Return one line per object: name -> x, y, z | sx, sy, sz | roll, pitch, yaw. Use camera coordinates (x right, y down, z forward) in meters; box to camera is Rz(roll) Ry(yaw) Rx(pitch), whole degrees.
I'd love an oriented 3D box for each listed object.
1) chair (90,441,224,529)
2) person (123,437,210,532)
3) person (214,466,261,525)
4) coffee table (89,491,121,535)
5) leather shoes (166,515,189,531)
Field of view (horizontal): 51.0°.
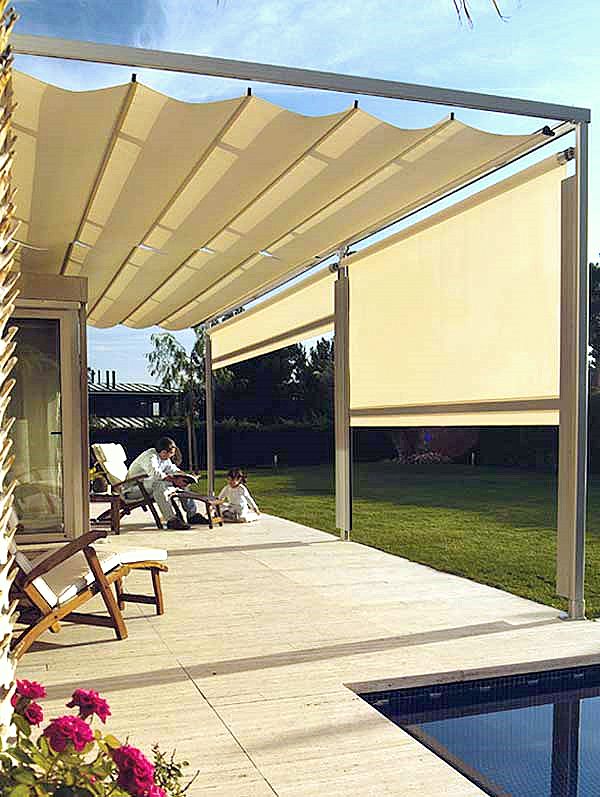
chair -> -2.030, 1.207, 8.994 | 1.701, 1.204, 0.983 | -1, -4, 12
person -> -1.841, 1.212, 8.887 | 1.044, 1.237, 0.906 | -1, -2, -13
person -> -0.949, 1.421, 9.379 | 0.749, 0.731, 0.495 | 2, 3, 28
coffee table -> -2.641, 1.569, 8.670 | 0.411, 0.520, 1.237 | -1, -2, -17
leather shoes -> -1.712, 1.733, 8.679 | 0.381, 0.153, 0.132 | -3, -2, 28
